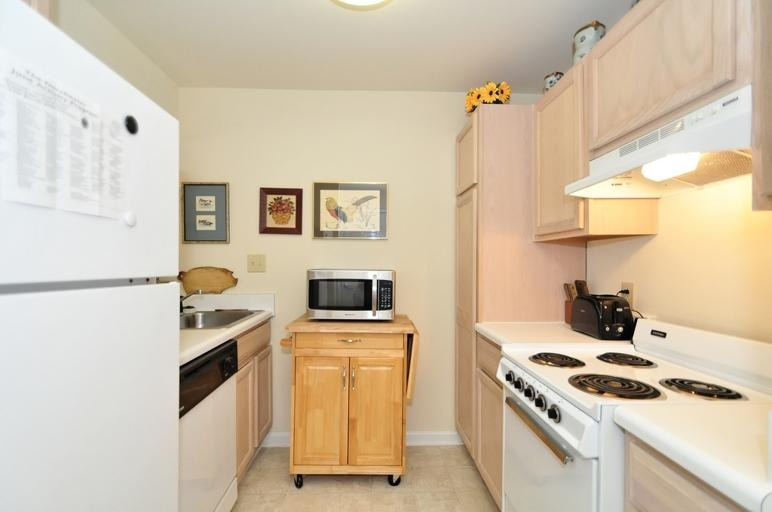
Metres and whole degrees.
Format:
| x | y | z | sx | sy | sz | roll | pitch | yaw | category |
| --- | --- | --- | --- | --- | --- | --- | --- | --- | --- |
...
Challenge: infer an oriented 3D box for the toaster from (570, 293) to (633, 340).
| x | y | z | sx | sy | sz | roll | pitch | yaw | category |
| --- | --- | --- | --- | --- | --- | --- | --- | --- | --- |
| 1.189 | 0.324 | 2.866 | 0.210 | 0.237 | 0.323 | -2 | 3 | -13 | toaster |

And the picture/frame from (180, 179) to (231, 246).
| x | y | z | sx | sy | sz | roll | pitch | yaw | category |
| --- | --- | --- | --- | --- | --- | --- | --- | --- | --- |
| -1.263 | -0.289 | 3.604 | 0.450 | 0.605 | 0.026 | 0 | -1 | -6 | picture/frame |

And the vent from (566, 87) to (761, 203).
| x | y | z | sx | sy | sz | roll | pitch | yaw | category |
| --- | --- | --- | --- | --- | --- | --- | --- | --- | --- |
| 1.260 | -0.461 | 2.298 | 0.495 | 0.512 | 0.735 | -7 | 16 | -27 | vent |

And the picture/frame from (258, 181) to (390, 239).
| x | y | z | sx | sy | sz | roll | pitch | yaw | category |
| --- | --- | --- | --- | --- | --- | --- | --- | --- | --- |
| -0.436 | -0.315 | 3.633 | 0.885 | 0.366 | 0.136 | 1 | 15 | 2 | picture/frame |

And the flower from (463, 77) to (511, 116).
| x | y | z | sx | sy | sz | roll | pitch | yaw | category |
| --- | --- | --- | --- | --- | --- | --- | --- | --- | --- |
| 0.633 | -1.006 | 3.242 | 0.238 | 0.075 | 0.226 | 2 | -41 | 3 | flower |
